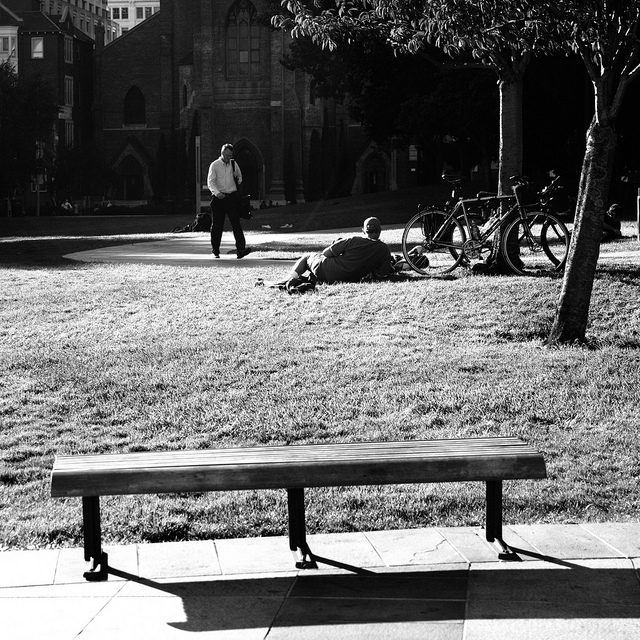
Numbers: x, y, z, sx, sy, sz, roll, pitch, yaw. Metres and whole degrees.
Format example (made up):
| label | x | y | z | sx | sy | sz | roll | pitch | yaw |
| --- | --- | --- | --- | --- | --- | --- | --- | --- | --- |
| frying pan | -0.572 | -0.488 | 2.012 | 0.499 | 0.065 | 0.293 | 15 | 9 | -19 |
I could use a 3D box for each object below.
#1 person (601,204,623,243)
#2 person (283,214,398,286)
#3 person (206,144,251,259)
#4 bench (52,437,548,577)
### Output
| label | x | y | z | sx | sy | sz | roll | pitch | yaw |
| --- | --- | --- | --- | --- | --- | --- | --- | --- | --- |
| person | 5.083 | -1.690 | 19.074 | 0.315 | 0.542 | 2.265 | 0 | 8 | 16 |
| person | 0.150 | -0.904 | 14.117 | 1.388 | 1.097 | 0.700 | 4 | -7 | 35 |
| person | -1.553 | -1.993 | 18.442 | 0.639 | 1.930 | 1.879 | -1 | 6 | -6 |
| bench | -0.102 | 0.902 | 5.459 | 2.320 | 0.606 | 0.751 | -2 | 6 | -5 |
